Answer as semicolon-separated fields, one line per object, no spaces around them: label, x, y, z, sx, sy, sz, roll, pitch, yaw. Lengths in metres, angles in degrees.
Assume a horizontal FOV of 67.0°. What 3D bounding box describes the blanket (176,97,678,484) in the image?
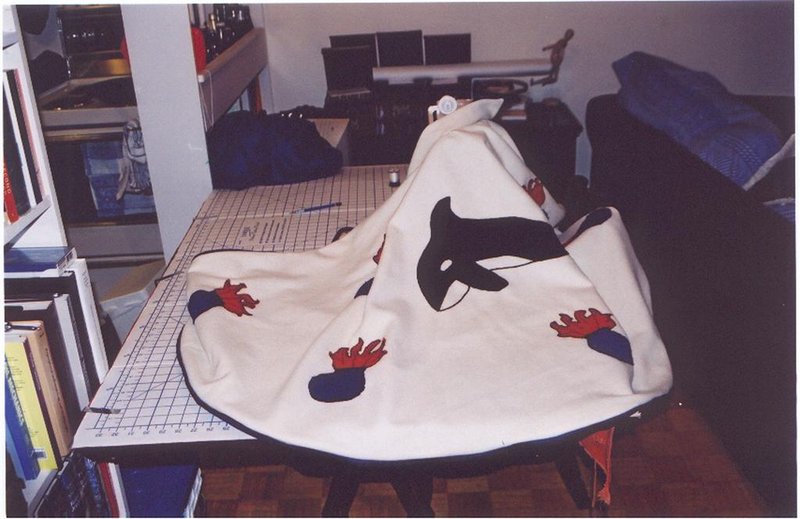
blanket;0.059;0.068;1.851;1.509;0.806;0.728;-4;21;2
